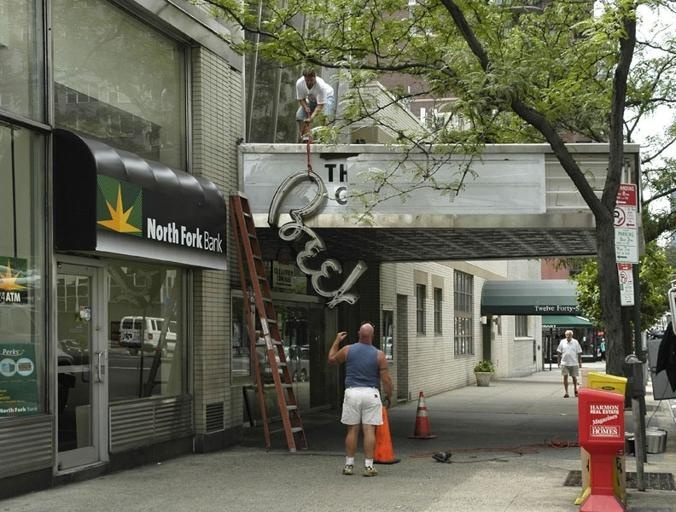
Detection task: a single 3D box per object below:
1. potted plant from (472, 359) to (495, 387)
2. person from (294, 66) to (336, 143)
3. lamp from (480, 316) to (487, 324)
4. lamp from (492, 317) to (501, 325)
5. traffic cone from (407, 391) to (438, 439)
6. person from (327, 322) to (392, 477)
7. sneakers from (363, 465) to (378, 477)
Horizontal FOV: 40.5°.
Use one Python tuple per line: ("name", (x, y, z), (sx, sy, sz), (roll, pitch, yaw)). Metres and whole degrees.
("potted plant", (5.373, 4.280, 33.206), (0.809, 0.906, 0.769), (2, -15, -3))
("person", (-0.594, -2.854, 17.409), (0.740, 1.562, 0.910), (17, 35, 21))
("lamp", (5.867, 2.545, 36.194), (0.368, 0.390, 0.271), (4, 4, 13))
("lamp", (6.760, 2.711, 38.085), (0.413, 0.398, 0.283), (1, -3, -13))
("traffic cone", (1.565, 3.035, 17.410), (0.671, 0.835, 0.702), (-1, -4, -5))
("person", (0.270, 2.117, 13.637), (0.940, 2.263, 1.216), (-2, -8, -2))
("sneakers", (0.408, 3.139, 13.358), (0.114, 0.150, 0.228), (2, 3, 29))
